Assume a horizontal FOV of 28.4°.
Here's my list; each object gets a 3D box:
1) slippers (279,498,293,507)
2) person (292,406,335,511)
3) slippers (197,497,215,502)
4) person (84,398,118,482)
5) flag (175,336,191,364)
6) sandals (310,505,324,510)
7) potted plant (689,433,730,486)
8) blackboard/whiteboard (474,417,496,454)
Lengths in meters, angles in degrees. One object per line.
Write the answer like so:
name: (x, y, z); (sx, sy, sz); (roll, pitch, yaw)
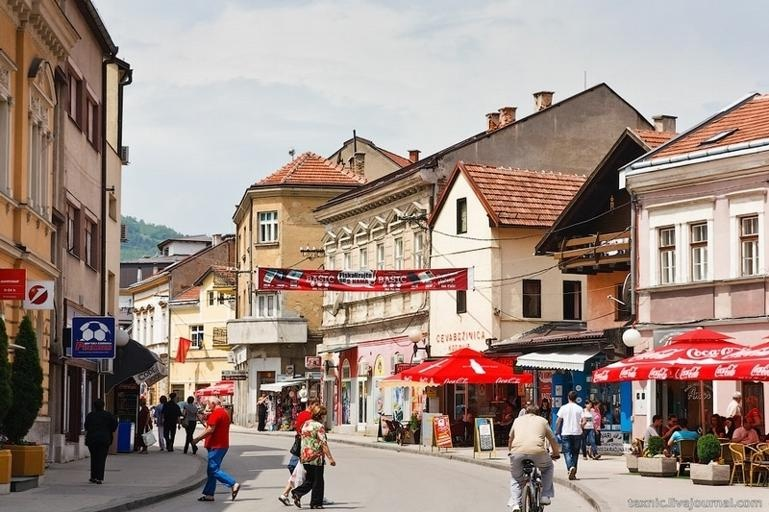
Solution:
slippers: (-2.666, 6.502, 40.293); (0.399, 0.141, 0.165); (28, -61, -20)
person: (-1.877, 5.381, 40.119); (0.998, 2.556, 1.264); (-1, -9, 8)
slippers: (-4.914, 6.566, 41.179); (0.397, 0.114, 0.156); (4, -2, 8)
person: (-8.204, 5.335, 44.114); (1.012, 2.218, 0.909); (-1, 1, -23)
flag: (-13.930, 6.264, 104.204); (0.989, 1.918, 2.372); (3, -14, -8)
sandals: (-1.827, 6.558, 39.896); (0.374, 0.143, 0.122); (3, -6, 2)
potted plant: (9.170, 5.754, 42.818); (1.392, 1.412, 0.860); (-2, 0, 28)
blackboard/whiteboard: (3.345, 6.070, 51.886); (0.630, 1.129, 0.773); (1, -14, 1)
